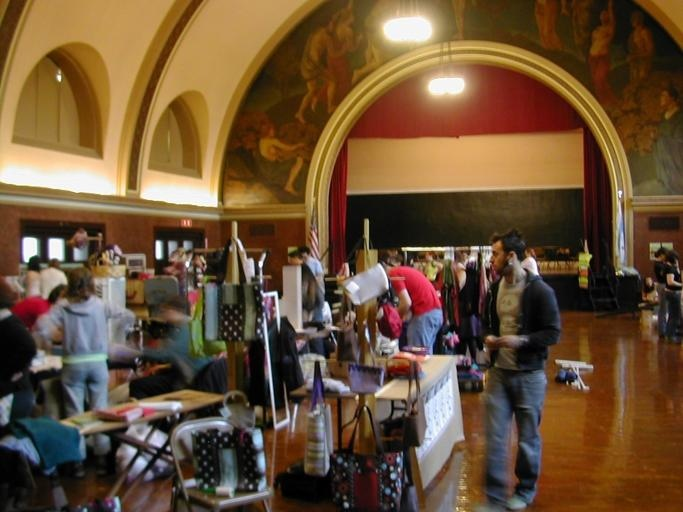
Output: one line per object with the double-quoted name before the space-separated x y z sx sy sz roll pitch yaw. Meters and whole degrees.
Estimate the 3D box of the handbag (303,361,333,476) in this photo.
"handbag" -0.197 1.327 4.660 0.217 0.969 0.404 -1 -3 -3

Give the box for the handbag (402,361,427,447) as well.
"handbag" 0.605 1.234 4.741 0.145 0.696 0.504 3 -27 8

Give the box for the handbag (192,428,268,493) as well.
"handbag" -0.874 1.555 4.555 0.590 0.767 0.400 -1 -3 -3

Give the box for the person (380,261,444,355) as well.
"person" 0.852 0.616 6.830 0.609 1.293 0.496 2 29 26

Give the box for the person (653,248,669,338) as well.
"person" 6.181 0.611 10.904 0.311 1.621 0.427 -7 14 12

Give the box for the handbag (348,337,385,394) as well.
"handbag" 0.199 0.868 4.575 0.295 0.299 0.195 0 -8 5
